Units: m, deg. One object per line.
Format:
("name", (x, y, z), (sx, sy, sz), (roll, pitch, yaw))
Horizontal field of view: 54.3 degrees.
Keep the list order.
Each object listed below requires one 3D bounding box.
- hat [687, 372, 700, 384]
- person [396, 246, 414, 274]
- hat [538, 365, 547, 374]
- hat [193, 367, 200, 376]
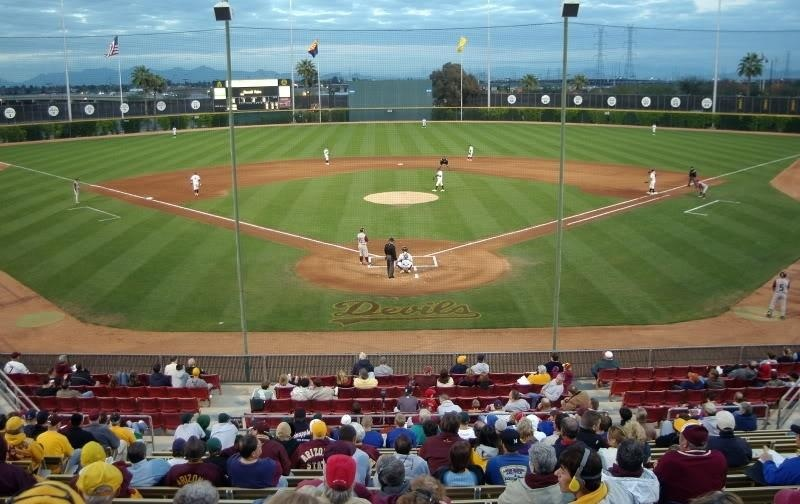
("hat", (10.217, 4.309, 26.860), (0.386, 0.309, 0.472), (3, 6, 11))
("person", (0.267, 0.409, 39.440), (0.758, 1.218, 0.959), (0, 5, 5))
("hat", (5.050, 4.072, 27.253), (0.271, 0.271, 0.296), (0, 32, -13))
("hat", (-7.171, 4.185, 27.250), (0.341, 0.290, 0.293), (1, 9, -4))
